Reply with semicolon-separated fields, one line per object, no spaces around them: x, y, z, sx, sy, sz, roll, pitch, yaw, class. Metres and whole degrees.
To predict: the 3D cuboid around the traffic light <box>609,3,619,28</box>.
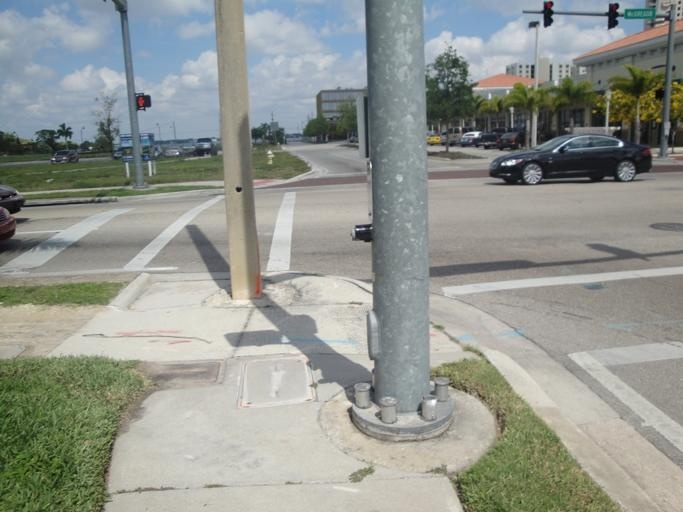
10.649;-9.367;23.860;0.419;0.938;1.117;4;15;23;traffic light

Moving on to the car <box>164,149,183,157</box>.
-14.762;-8.904;52.782;0.939;0.637;3.183;-10;16;-30;car

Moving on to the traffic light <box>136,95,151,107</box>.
-7.778;-6.053;23.876;0.481;0.485;0.190;-2;14;1;traffic light

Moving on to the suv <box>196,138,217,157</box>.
-13.588;-10.688;61.255;1.971;1.120;4.166;-4;14;-9;suv

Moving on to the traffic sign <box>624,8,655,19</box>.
12.512;-10.122;25.494;0.490;0.458;2.597;11;19;44;traffic sign
